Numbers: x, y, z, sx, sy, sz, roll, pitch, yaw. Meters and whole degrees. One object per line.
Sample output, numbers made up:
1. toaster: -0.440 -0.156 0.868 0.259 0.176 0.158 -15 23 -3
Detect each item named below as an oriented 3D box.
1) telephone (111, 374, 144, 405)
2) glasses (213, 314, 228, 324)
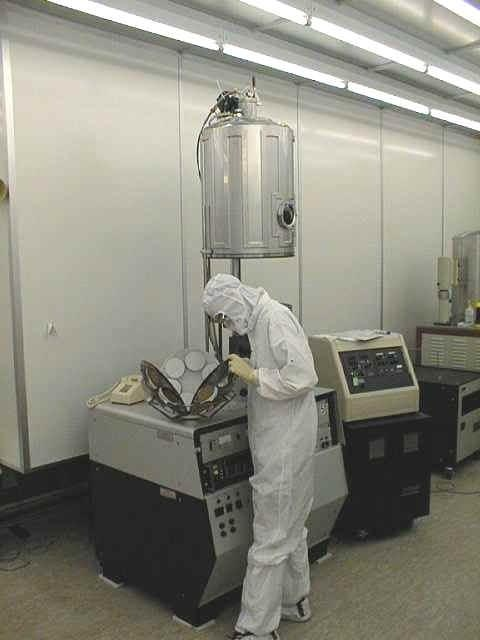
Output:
1. telephone: -0.467 0.293 2.087 0.139 0.094 0.201 -1 2 -17
2. glasses: -0.067 -0.005 1.767 0.033 0.037 0.021 -2 2 -25
